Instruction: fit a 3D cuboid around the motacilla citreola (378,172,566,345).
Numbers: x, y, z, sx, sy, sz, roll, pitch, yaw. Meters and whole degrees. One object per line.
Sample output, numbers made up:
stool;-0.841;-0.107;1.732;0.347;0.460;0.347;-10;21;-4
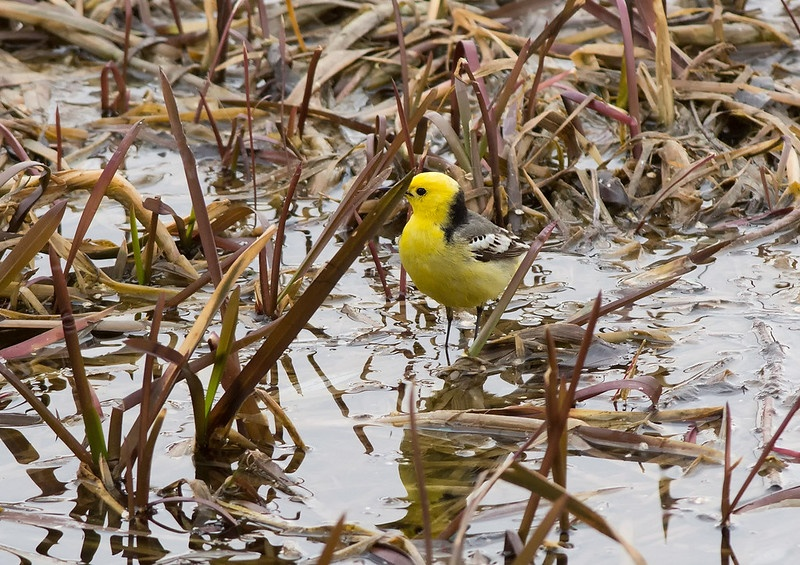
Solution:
motacilla citreola;0.414;-0.190;5.425;0.831;0.972;0.638;5;13;0
